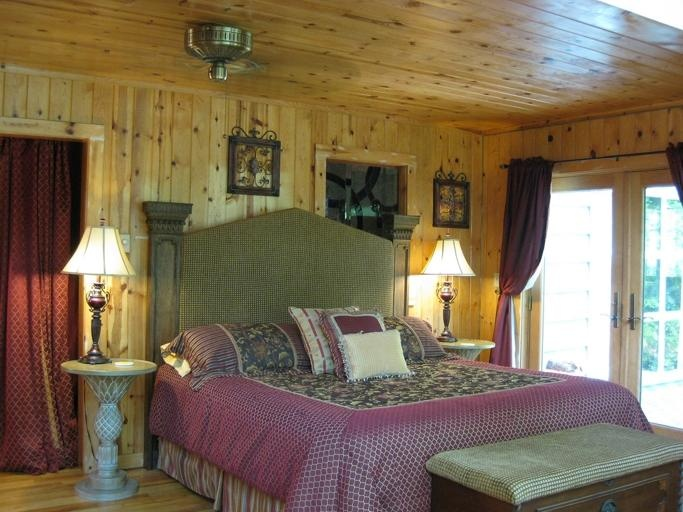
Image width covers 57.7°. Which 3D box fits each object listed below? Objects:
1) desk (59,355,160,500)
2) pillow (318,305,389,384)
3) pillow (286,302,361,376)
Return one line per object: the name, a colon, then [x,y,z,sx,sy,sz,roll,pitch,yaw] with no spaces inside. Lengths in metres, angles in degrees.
desk: [-1.771,1.260,4.822,0.828,1.103,0.848,1,0,-16]
pillow: [0.040,0.646,4.696,0.493,0.465,0.146,5,-21,-37]
pillow: [-0.203,0.637,4.760,0.478,0.471,0.146,3,-20,-23]
